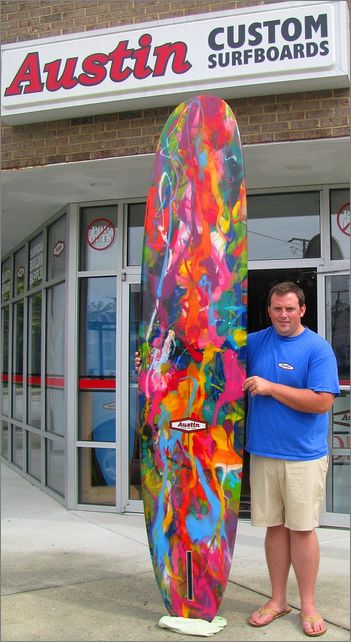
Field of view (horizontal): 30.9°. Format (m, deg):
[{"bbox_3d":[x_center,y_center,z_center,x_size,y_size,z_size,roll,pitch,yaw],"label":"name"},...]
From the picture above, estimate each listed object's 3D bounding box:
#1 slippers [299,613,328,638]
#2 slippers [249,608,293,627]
[{"bbox_3d":[0.608,1.324,2.771,0.108,0.072,0.108,-1,-5,11],"label":"slippers"},{"bbox_3d":[0.423,1.333,2.888,0.164,0.040,0.067,7,-8,-32],"label":"slippers"}]
